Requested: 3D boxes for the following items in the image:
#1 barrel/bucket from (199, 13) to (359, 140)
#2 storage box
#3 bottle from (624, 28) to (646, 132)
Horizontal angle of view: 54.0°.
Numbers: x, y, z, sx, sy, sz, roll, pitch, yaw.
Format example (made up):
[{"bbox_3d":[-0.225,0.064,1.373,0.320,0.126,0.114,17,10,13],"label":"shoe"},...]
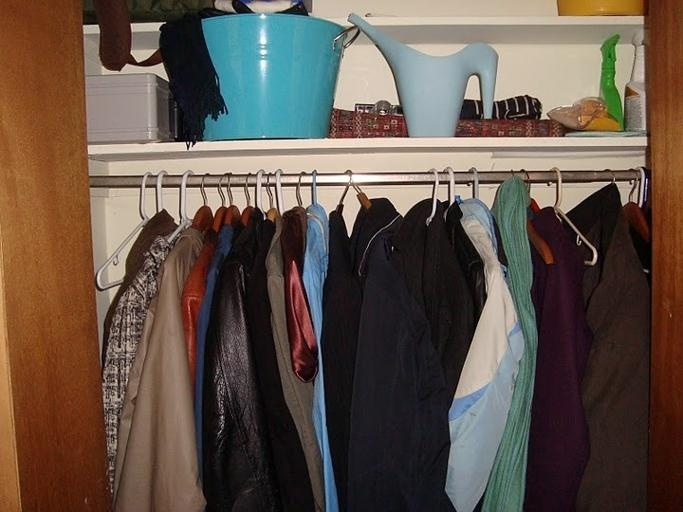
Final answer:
[{"bbox_3d":[-0.164,-0.358,1.478,0.274,0.205,0.278,0,6,0],"label":"barrel/bucket"},{"bbox_3d":[-0.510,-0.350,1.607,0.145,0.132,0.162,1,12,4],"label":"storage box"},{"bbox_3d":[0.722,-0.431,1.645,0.051,0.259,0.145,-1,5,23],"label":"bottle"}]
